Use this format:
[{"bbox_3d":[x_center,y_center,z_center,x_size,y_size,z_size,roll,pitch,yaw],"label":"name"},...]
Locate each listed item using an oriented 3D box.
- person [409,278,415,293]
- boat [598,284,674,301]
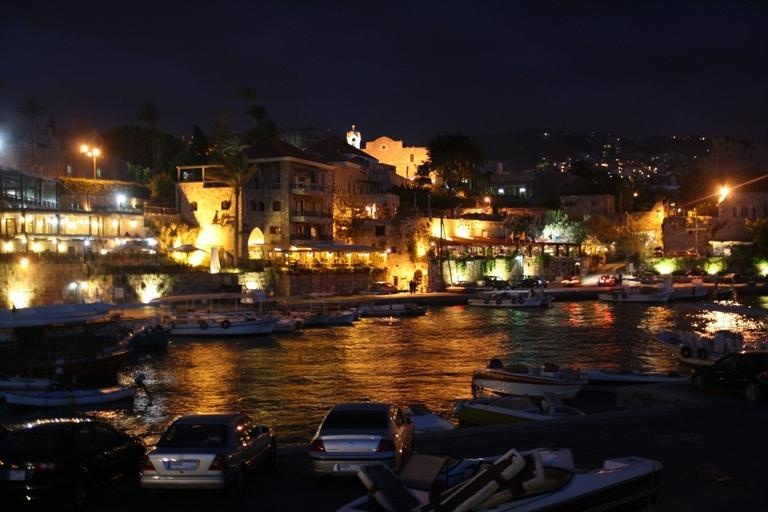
[{"bbox_3d":[2.648,2.883,83.138,0.573,1.106,1.617,1,-3,-2],"label":"person"},{"bbox_3d":[24.075,3.631,81.442,6.094,1.502,2.259,-1,3,13],"label":"boat"}]
